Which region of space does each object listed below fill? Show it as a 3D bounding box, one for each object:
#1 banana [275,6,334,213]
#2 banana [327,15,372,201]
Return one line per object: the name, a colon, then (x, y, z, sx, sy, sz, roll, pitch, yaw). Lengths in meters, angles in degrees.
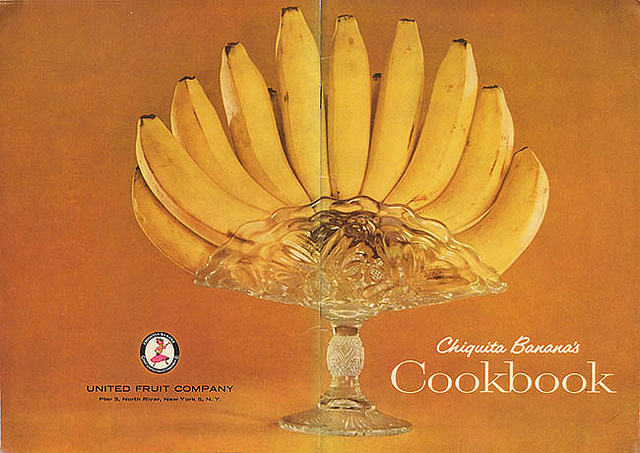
banana: (-0.025, -0.429, 4.046, 0.180, 0.785, 0.185, -6, 5, 2)
banana: (0.146, -0.424, 3.960, 0.145, 0.640, 0.215, 0, 1, 7)
